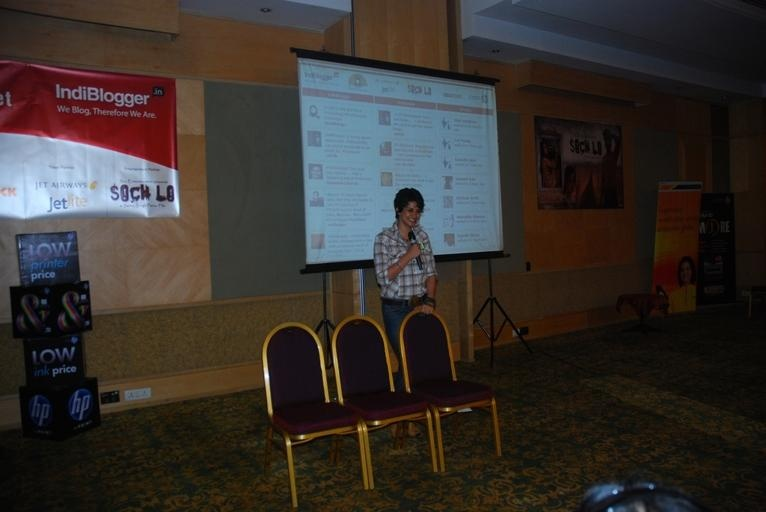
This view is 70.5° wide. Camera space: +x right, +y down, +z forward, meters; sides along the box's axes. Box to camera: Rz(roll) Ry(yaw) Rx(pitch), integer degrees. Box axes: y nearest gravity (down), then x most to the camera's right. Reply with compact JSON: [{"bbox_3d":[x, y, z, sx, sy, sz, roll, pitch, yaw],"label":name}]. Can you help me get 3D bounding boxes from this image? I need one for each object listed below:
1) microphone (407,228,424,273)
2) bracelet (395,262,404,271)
[{"bbox_3d":[0.349,-0.072,5.781,0.113,0.496,0.131,-6,-33,-7],"label":"microphone"},{"bbox_3d":[0.190,0.094,5.589,0.073,0.101,0.121,6,11,37],"label":"bracelet"}]
